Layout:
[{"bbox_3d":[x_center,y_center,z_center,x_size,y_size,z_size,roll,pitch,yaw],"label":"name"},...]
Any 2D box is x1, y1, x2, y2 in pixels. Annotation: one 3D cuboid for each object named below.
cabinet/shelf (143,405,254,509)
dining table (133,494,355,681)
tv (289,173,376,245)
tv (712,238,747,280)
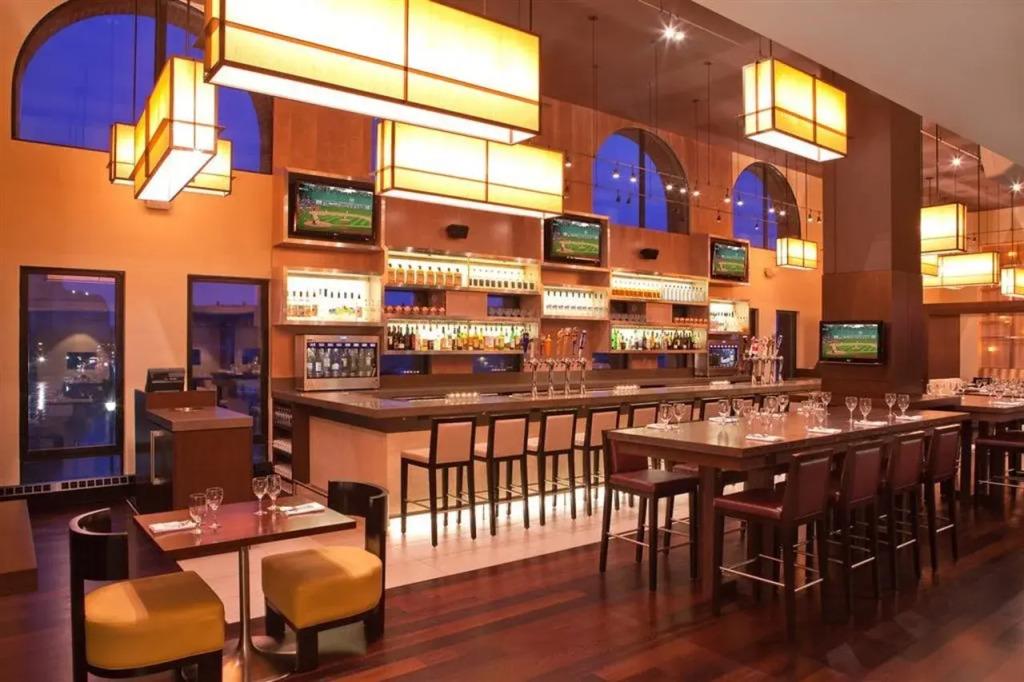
[{"bbox_3d":[-3.348,1.176,8.493,0.972,1.487,1.480,2,-5,-35],"label":"cabinet/shelf"},{"bbox_3d":[-2.044,2.144,6.027,1.651,1.345,1.216,2,-2,-40],"label":"dining table"},{"bbox_3d":[-2.405,-1.723,10.212,0.956,0.674,0.133,4,-9,-29],"label":"tv"},{"bbox_3d":[3.948,-1.510,14.340,0.793,0.503,0.107,0,0,-36],"label":"tv"}]
